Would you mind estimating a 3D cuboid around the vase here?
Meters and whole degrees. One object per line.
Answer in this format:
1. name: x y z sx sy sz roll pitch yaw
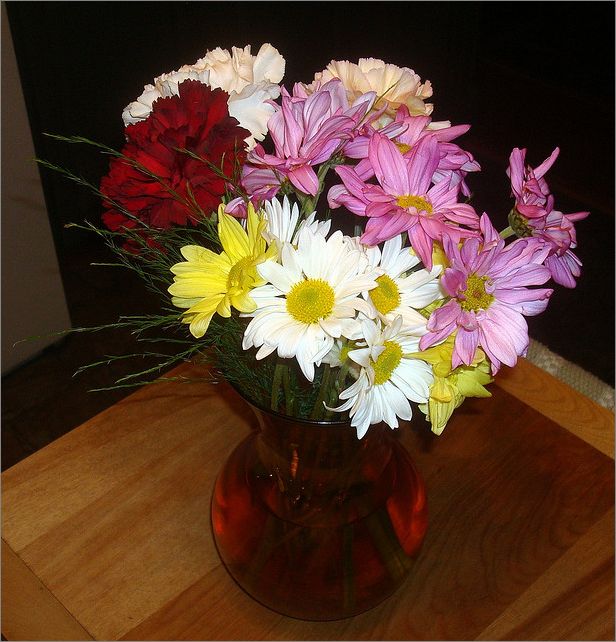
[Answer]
1. vase: 0.006 0.193 0.581 0.221 0.240 0.202 8 4 14
